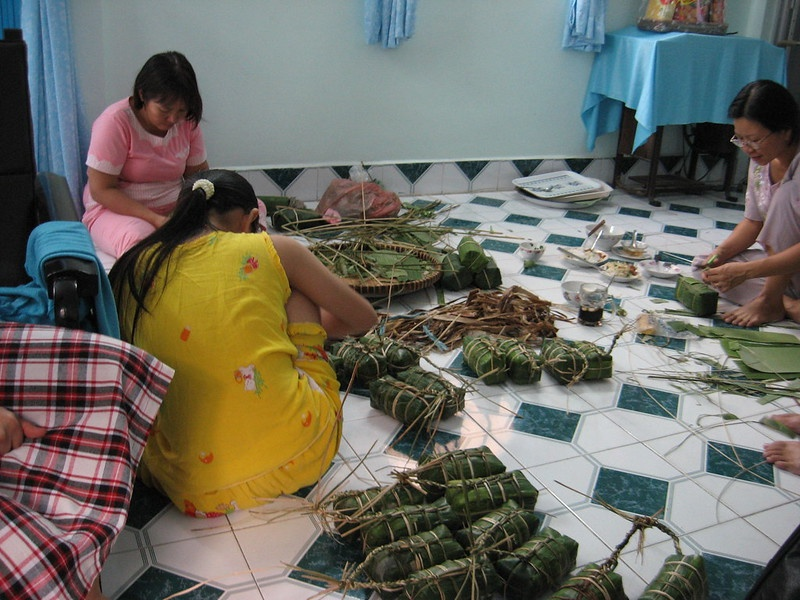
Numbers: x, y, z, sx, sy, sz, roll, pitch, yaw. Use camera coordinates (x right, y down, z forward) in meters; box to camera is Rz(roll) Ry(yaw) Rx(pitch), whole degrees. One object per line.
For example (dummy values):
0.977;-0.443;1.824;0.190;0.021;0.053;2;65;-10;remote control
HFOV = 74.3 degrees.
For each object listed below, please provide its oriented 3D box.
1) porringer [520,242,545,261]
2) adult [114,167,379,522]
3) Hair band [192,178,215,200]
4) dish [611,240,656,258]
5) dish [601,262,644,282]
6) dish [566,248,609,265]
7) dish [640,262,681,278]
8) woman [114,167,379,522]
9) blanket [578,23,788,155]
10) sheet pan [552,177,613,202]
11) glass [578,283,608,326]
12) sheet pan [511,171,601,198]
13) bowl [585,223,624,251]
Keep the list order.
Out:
0.867;-0.308;3.450;0.139;0.078;0.126;1;26;4;porringer
-0.617;0.009;1.962;0.979;0.779;1.152;-12;31;-15;adult
-0.583;-0.321;1.568;0.063;0.055;0.047;-2;19;-13;Hair band
1.639;-0.348;3.679;0.279;0.090;0.299;9;19;23;dish
1.396;-0.169;3.330;0.259;0.094;0.218;4;17;8;dish
1.222;-0.277;3.456;0.160;0.042;0.148;-3;16;-26;dish
1.679;-0.184;3.391;0.194;0.080;0.193;-2;18;-12;dish
-0.372;0.041;1.825;0.888;0.735;1.026;-3;40;-12;woman
2.492;-1.738;4.828;1.675;1.043;1.172;-7;23;-16;blanket
1.623;-0.895;4.508;0.422;0.052;0.247;-15;34;-25;sheet pan
1.051;0.048;2.797;0.204;0.176;0.121;7;1;17;glass
1.412;-0.991;4.672;0.477;0.047;0.423;-18;26;-34;sheet pan
1.417;-0.438;3.751;0.268;0.116;0.259;0;27;0;bowl
